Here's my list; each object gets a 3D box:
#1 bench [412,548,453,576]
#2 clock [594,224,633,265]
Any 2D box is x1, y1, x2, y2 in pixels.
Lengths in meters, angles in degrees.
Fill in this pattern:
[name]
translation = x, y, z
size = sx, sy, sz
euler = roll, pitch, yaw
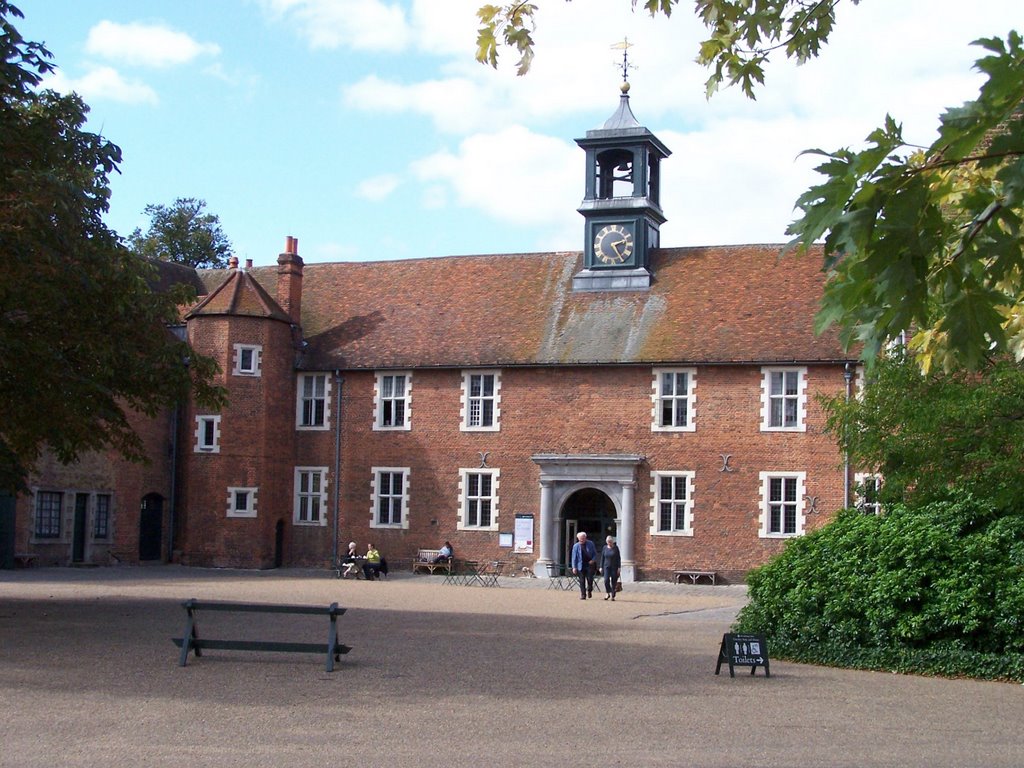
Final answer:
[bench]
translation = -2.440, 5.303, 47.799
size = 1.174, 0.710, 0.749
euler = -4, -13, 26
[clock]
translation = 3.188, -4.359, 50.158
size = 1.391, 1.301, 0.113
euler = 0, -9, 18
